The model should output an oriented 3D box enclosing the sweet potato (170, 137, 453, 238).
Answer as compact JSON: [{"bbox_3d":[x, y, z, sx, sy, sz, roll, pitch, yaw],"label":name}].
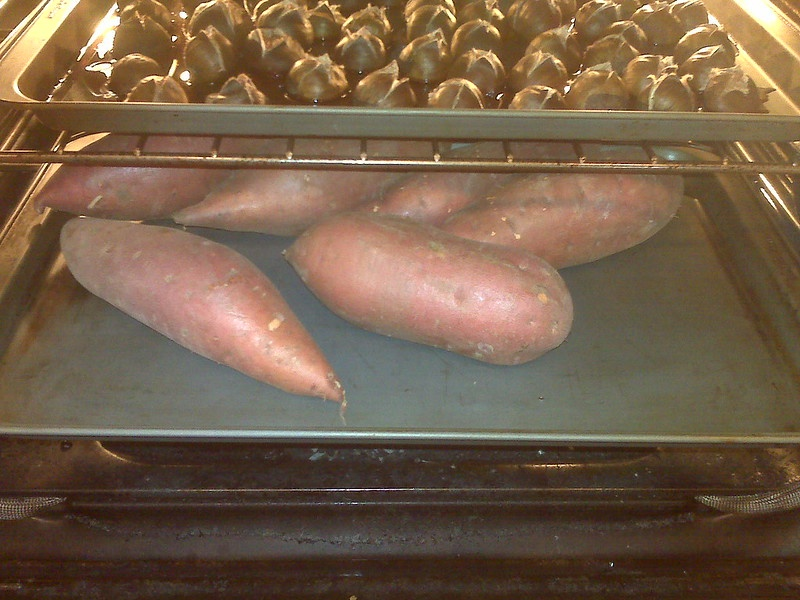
[{"bbox_3d":[-0.151,-0.166,1.049,0.502,0.117,0.094,-2,70,2],"label":"sweet potato"}]

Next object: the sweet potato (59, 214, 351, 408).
[{"bbox_3d":[-0.275,0.013,1.026,0.591,0.149,0.136,20,70,4],"label":"sweet potato"}]

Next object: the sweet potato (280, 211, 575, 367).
[{"bbox_3d":[0.037,-0.021,0.977,0.410,0.135,0.153,16,58,13],"label":"sweet potato"}]
